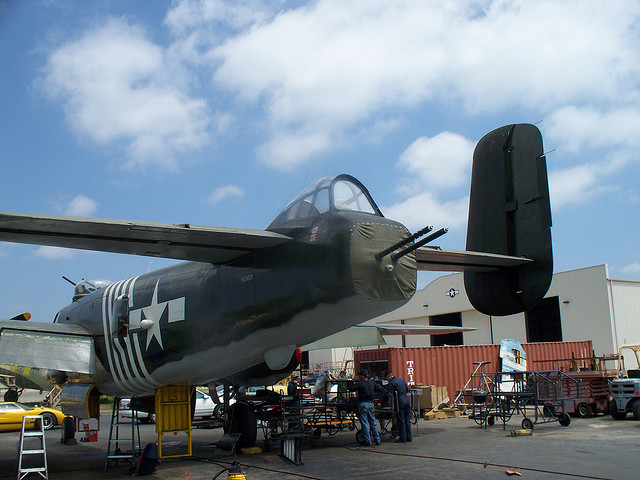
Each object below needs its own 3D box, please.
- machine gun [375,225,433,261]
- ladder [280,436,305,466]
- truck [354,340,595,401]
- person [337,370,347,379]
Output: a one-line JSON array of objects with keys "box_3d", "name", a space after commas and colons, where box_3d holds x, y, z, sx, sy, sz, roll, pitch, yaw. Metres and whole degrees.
[{"box_3d": [1.768, 0.062, 12.623, 0.274, 0.268, 1.550, 31, -42, -31], "name": "machine gun"}, {"box_3d": [-0.804, 5.772, 15.483, 0.755, 0.303, 0.745, 1, -5, -16], "name": "ladder"}, {"box_3d": [7.108, 7.362, 31.171, 8.401, 2.791, 2.449, -12, -19, 39], "name": "truck"}, {"box_3d": [0.952, 5.911, 24.647, 0.576, 0.359, 0.795, -1, -9, -7], "name": "person"}]
